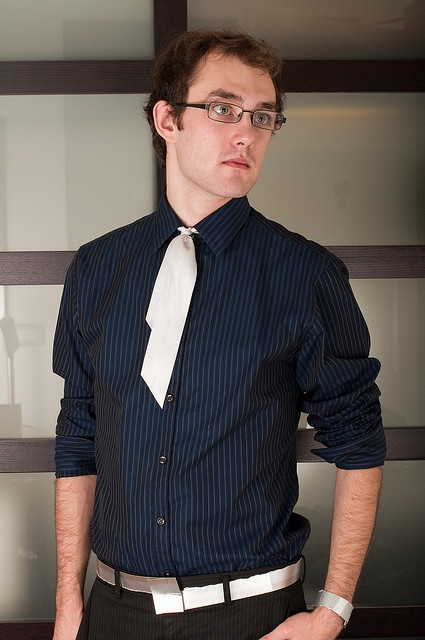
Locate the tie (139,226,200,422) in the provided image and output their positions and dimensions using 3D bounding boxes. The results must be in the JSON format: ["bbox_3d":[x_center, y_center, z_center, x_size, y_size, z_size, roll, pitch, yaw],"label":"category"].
[{"bbox_3d":[-0.109,-0.007,1.396,0.098,0.442,0.054,9,-22,9],"label":"tie"}]
